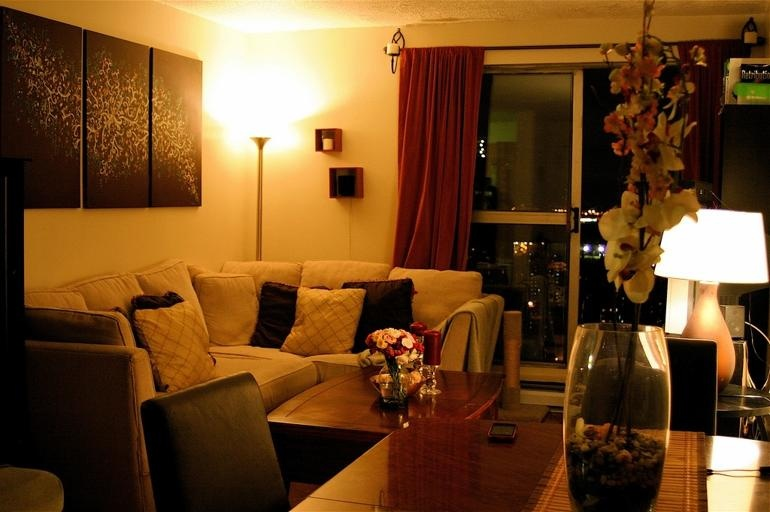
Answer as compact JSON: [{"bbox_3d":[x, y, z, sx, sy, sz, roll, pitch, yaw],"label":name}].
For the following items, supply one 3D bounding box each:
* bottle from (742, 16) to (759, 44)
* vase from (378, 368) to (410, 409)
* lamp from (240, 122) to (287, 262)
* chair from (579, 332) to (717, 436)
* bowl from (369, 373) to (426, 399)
[{"bbox_3d":[2.990,-1.848,5.137,0.120,0.247,0.200,1,5,29],"label":"bottle"},{"bbox_3d":[0.034,0.694,3.267,0.167,0.180,0.161,2,-5,-35],"label":"vase"},{"bbox_3d":[-1.158,-0.601,5.963,0.342,1.292,0.396,-1,5,2],"label":"lamp"},{"bbox_3d":[1.267,0.506,2.957,0.486,0.809,0.519,-3,-5,29],"label":"chair"},{"bbox_3d":[0.033,0.672,3.271,0.177,0.069,0.181,-1,-1,0],"label":"bowl"}]
